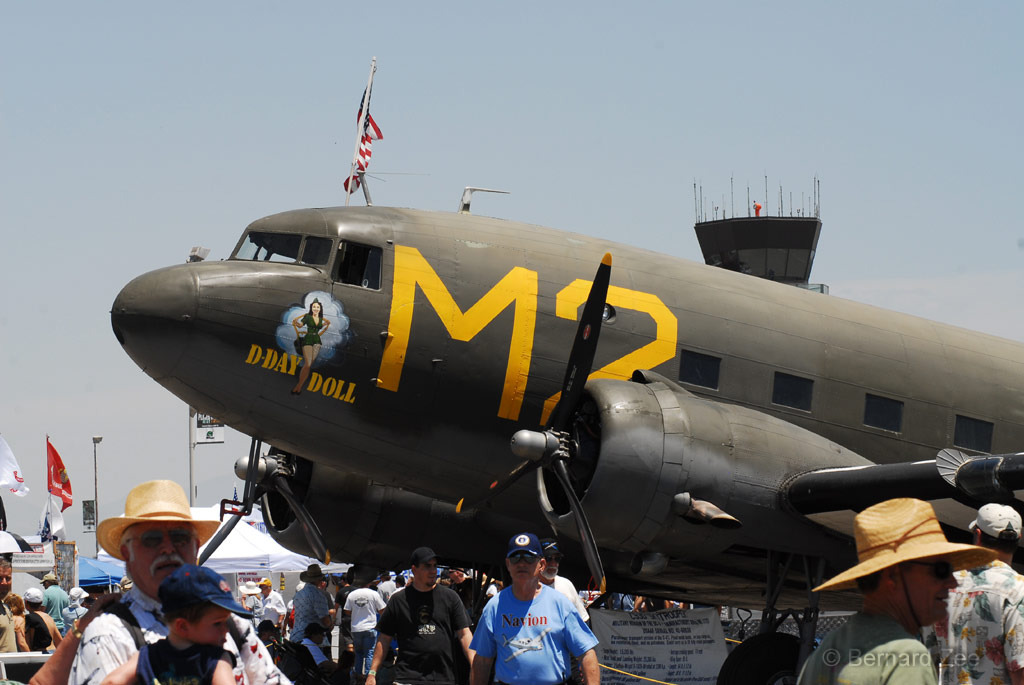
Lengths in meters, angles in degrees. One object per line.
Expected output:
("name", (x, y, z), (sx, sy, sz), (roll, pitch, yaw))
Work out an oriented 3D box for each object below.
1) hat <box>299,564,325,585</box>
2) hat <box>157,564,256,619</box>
("hat", (-2.836, 3.273, 23.809), (0.397, 0.127, 0.388), (1, 1, 1))
("hat", (-2.556, 2.055, 13.984), (0.718, 0.260, 0.393), (5, -2, -3))
